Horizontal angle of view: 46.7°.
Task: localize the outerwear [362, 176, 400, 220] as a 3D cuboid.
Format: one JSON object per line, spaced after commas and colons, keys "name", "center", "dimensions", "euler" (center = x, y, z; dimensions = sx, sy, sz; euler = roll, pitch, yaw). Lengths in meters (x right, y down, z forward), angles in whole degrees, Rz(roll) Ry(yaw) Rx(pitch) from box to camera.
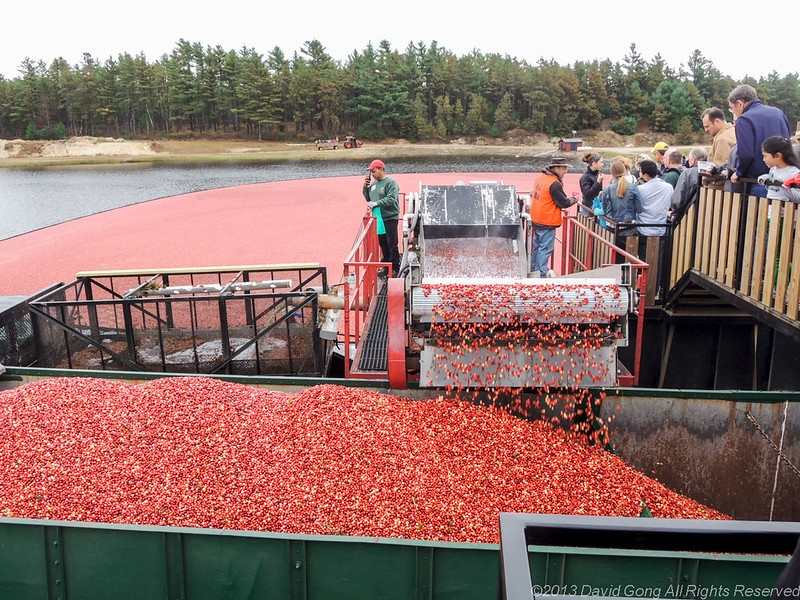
{"name": "outerwear", "center": [-0.332, -1.945, 17.024], "dimensions": [0.711, 1.014, 0.808], "euler": [-2, 10, -8]}
